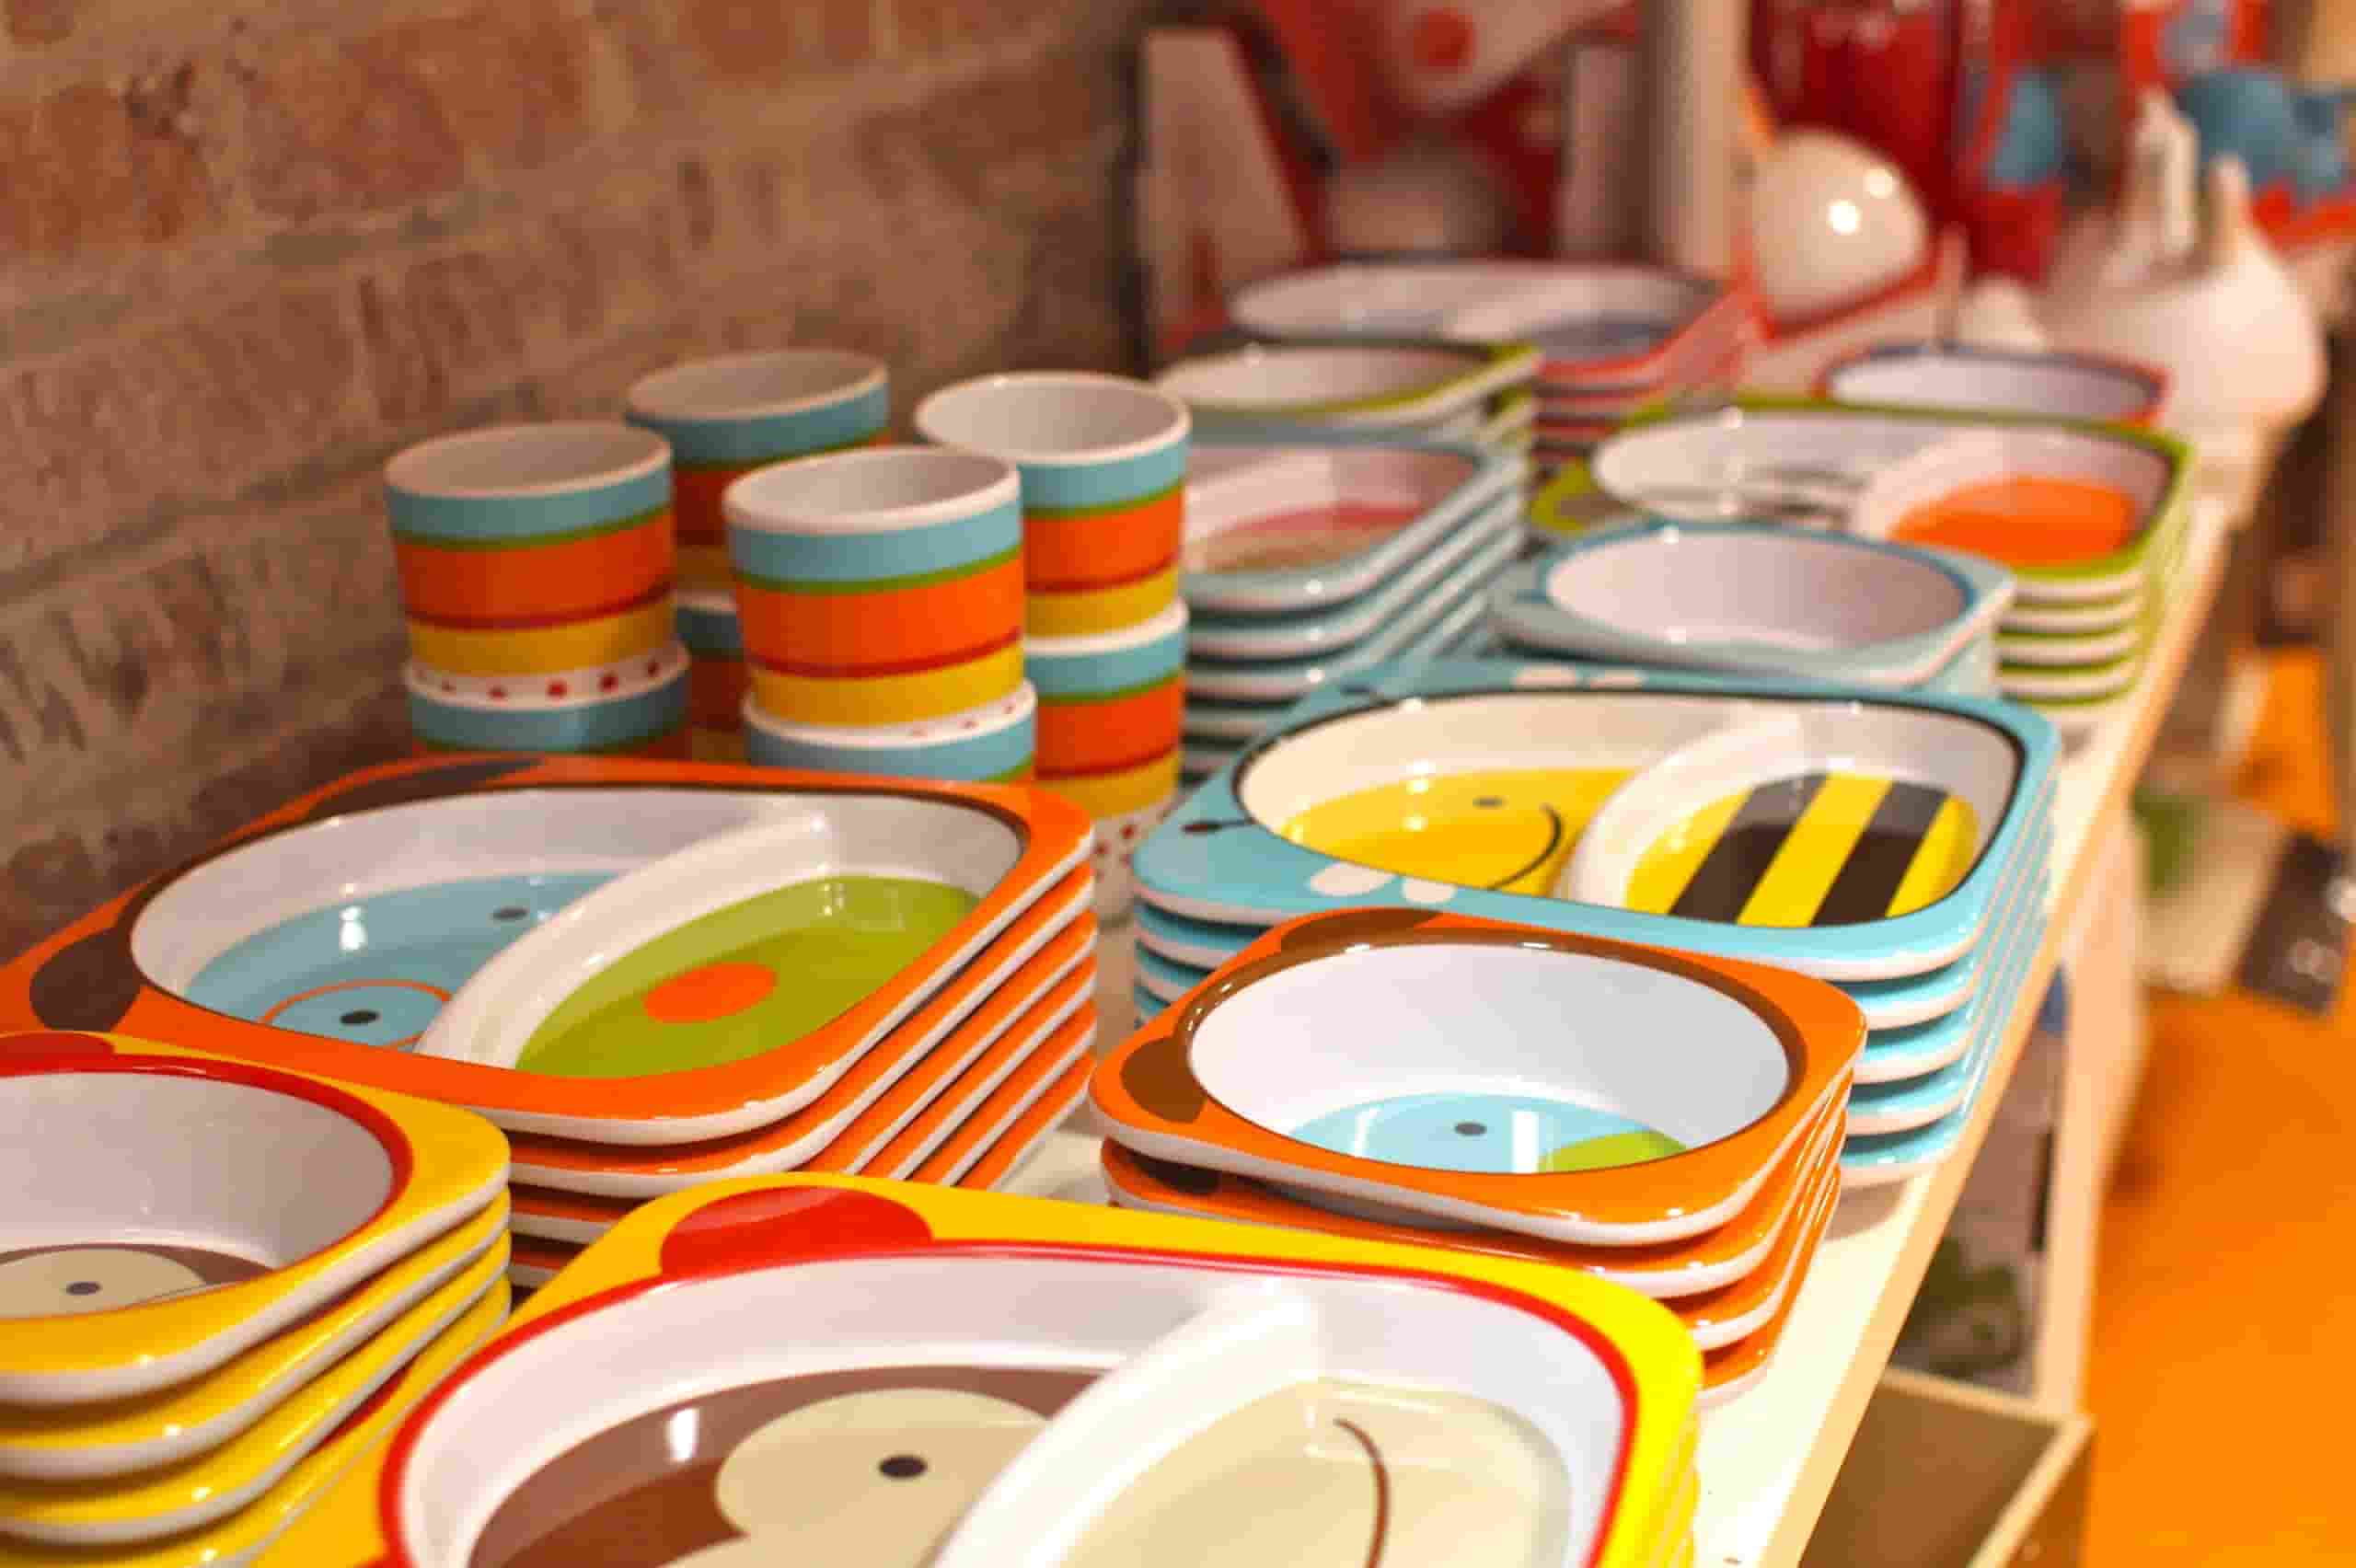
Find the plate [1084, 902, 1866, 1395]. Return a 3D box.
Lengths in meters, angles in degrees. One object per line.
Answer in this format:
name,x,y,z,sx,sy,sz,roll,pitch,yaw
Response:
plate,0.137,0.110,0.850,0.230,0.071,0.231,12,25,27

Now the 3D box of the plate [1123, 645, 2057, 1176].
plate,0.235,0.025,1.079,0.355,0.109,0.296,9,28,23

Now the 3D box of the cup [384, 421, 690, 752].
cup,-0.328,-0.095,1.074,0.129,0.153,0.134,-1,32,1

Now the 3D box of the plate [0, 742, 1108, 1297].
plate,-0.266,0.045,0.870,0.270,0.106,0.329,8,25,22

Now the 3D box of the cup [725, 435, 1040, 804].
cup,-0.146,-0.101,1.108,0.177,0.176,0.169,-3,21,1
